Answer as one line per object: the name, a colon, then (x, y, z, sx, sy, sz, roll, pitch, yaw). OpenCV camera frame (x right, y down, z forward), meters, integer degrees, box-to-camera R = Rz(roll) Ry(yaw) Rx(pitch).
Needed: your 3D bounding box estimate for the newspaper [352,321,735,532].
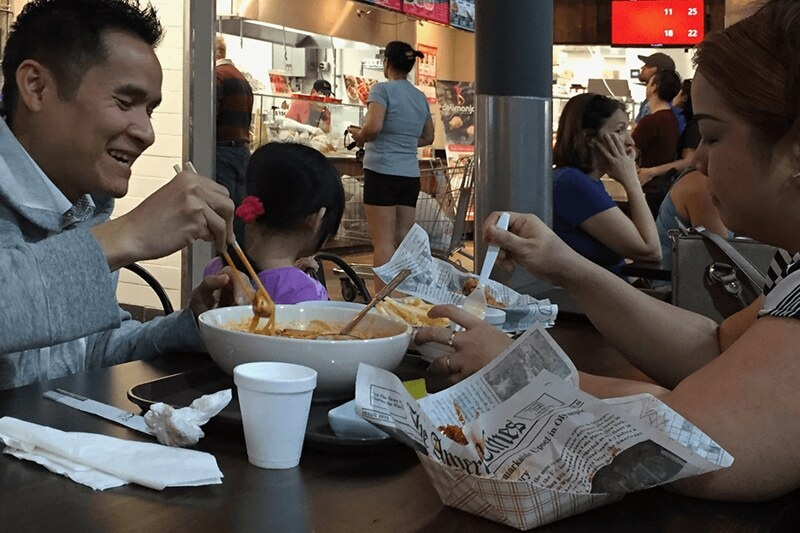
newspaper: (0.222, 0.229, 0.884, 0.399, 0.144, 0.336, 14, 9, 36)

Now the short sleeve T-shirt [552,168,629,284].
short sleeve T-shirt: (0.864, -0.193, 2.752, 0.271, 0.457, 0.490, -15, 8, 5)

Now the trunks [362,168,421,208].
trunks: (-0.084, -0.645, 5.121, 0.457, 0.325, 0.325, 3, 11, -17)

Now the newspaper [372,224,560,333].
newspaper: (0.181, 0.101, 1.699, 0.416, 0.150, 0.320, 24, 20, 18)

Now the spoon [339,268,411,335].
spoon: (-0.093, 0.107, 2.002, 0.045, 0.054, 0.436, 36, 52, 18)

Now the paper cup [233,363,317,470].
paper cup: (-0.207, 0.235, 1.073, 0.159, 0.171, 0.166, 7, 5, -1)
